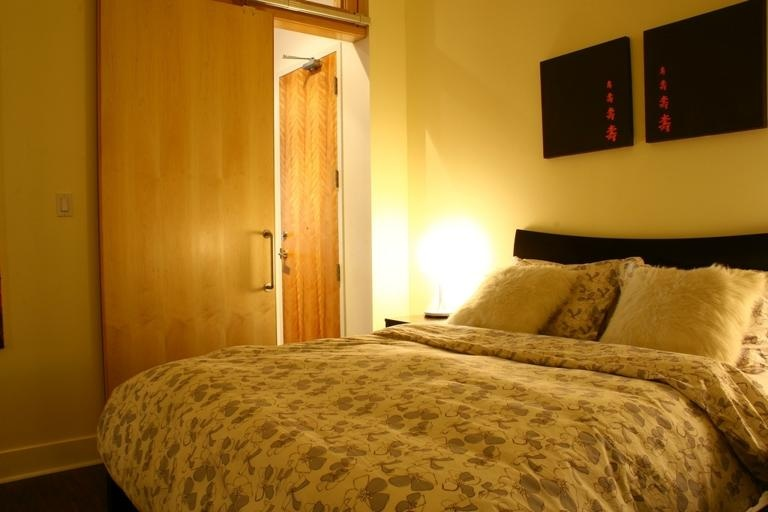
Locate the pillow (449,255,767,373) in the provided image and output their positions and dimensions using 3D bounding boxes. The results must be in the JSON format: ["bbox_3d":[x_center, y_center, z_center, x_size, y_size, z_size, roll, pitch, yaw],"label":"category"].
[{"bbox_3d":[1.217,0.255,2.978,1.395,0.430,0.582,6,16,36],"label":"pillow"}]
